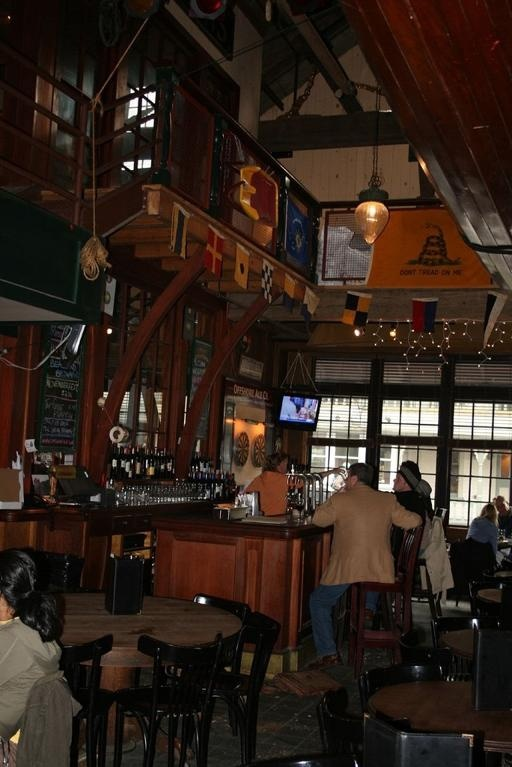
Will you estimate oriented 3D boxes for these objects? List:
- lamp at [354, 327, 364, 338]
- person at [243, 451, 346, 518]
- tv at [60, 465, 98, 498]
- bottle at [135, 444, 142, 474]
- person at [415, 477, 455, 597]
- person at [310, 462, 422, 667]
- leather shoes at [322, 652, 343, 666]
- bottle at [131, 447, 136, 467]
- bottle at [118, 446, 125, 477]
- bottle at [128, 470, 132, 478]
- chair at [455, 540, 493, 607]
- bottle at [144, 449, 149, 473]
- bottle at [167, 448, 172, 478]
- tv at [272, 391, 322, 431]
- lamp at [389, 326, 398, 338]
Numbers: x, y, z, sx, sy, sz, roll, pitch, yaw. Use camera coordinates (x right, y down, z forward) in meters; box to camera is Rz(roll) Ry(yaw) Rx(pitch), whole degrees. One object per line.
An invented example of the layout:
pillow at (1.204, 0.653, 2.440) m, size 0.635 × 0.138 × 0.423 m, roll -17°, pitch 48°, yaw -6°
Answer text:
lamp at (1.884, -0.956, 11.525) m, size 0.123 × 0.170 × 0.134 m, roll -3°, pitch -1°, yaw 24°
person at (0.411, 1.035, 6.573) m, size 0.979 × 0.404 × 1.057 m, roll -5°, pitch -41°, yaw 3°
tv at (-1.544, 0.855, 5.416) m, size 0.118 × 0.237 × 0.242 m, roll -18°, pitch -15°, yaw 21°
bottle at (-1.345, 0.892, 7.197) m, size 0.080 × 0.324 × 0.240 m, roll 5°, pitch -7°, yaw -6°
person at (1.994, 1.559, 6.734) m, size 0.339 × 1.244 × 0.509 m, roll 2°, pitch 36°, yaw 30°
person at (0.834, 1.463, 5.072) m, size 0.785 × 1.618 × 0.354 m, roll 3°, pitch -7°, yaw 6°
leather shoes at (0.585, 2.196, 4.970) m, size 0.194 × 0.091 × 0.075 m, roll -4°, pitch -8°, yaw 25°
bottle at (-1.395, 0.844, 7.154) m, size 0.065 × 0.205 × 0.167 m, roll 6°, pitch -7°, yaw -13°
bottle at (-1.503, 0.875, 7.036) m, size 0.085 × 0.306 × 0.264 m, roll 6°, pitch -7°, yaw -12°
bottle at (-1.413, 1.023, 7.046) m, size 0.033 × 0.091 × 0.082 m, roll 4°, pitch -7°, yaw 2°
chair at (2.736, 2.343, 7.935) m, size 0.538 × 0.699 × 0.307 m, roll 2°, pitch -7°, yaw 19°
bottle at (-1.296, 0.926, 7.437) m, size 0.057 × 0.304 × 0.319 m, roll 5°, pitch -7°, yaw -9°
bottle at (-1.074, 1.032, 7.862) m, size 0.068 × 0.296 × 0.255 m, roll 5°, pitch -7°, yaw -8°
tv at (0.731, 0.493, 11.579) m, size 0.639 × 0.589 × 0.086 m, roll 12°, pitch -2°, yaw -17°
lamp at (2.401, -0.903, 10.945) m, size 0.181 × 0.255 × 0.087 m, roll -3°, pitch 2°, yaw -33°
